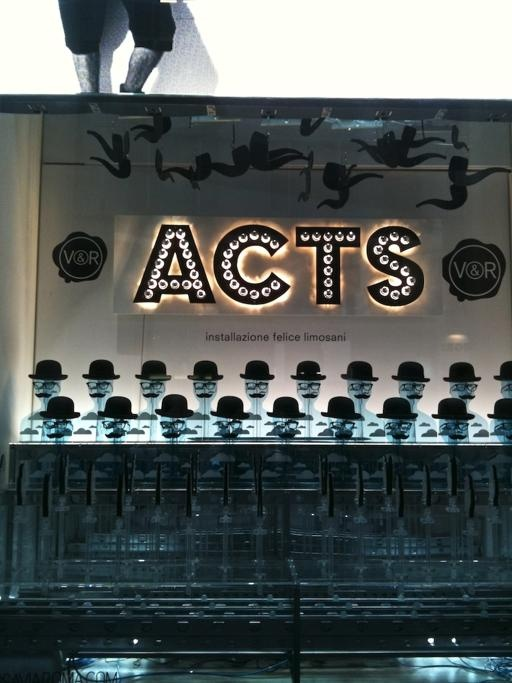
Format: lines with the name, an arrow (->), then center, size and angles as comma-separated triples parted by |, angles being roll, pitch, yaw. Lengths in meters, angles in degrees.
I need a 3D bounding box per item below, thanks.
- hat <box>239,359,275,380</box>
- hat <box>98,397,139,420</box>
hat -> 0.014, 0.266, 12.589 | 0.297, 0.311, 0.224 | 2, -31, -3
hat -> -1.247, 0.622, 11.982 | 0.328, 0.225, 0.191 | 5, -31, -9
